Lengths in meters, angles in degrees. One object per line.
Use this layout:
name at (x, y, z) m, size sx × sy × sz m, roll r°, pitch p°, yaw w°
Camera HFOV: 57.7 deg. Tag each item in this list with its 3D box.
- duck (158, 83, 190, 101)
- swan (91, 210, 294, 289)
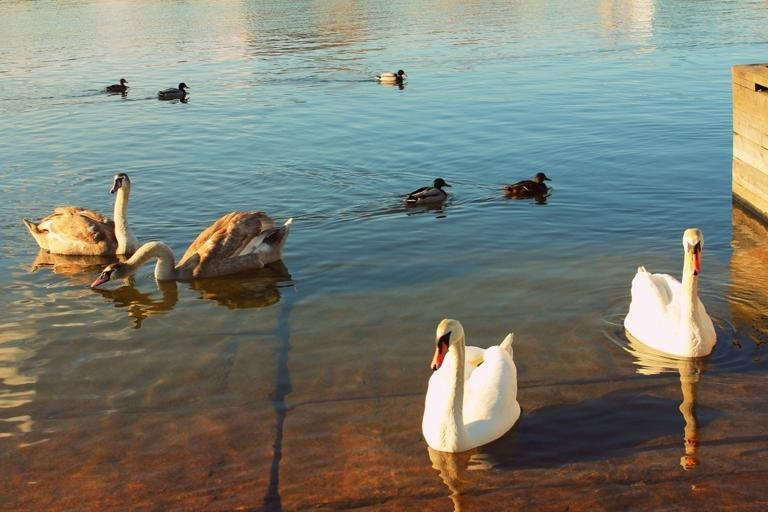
duck at (-11.780, -9.247, 39.641) m, size 1.969 × 0.811 × 0.819 m, roll 6°, pitch 21°, yaw 33°
swan at (-4.674, -0.219, 18.564) m, size 4.293 × 1.533 × 0.692 m, roll -9°, pitch 20°, yaw -21°
